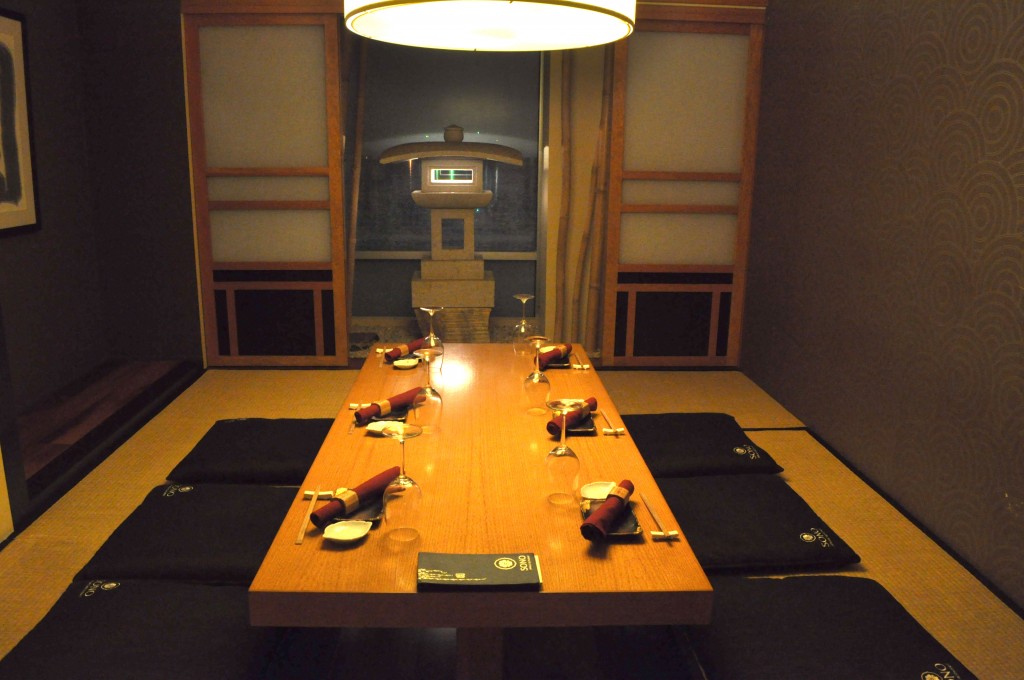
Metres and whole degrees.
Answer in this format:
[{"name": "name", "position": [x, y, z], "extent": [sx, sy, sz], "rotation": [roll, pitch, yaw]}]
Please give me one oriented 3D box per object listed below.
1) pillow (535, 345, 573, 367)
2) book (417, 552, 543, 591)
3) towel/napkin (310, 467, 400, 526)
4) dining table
[{"name": "pillow", "position": [0.200, 0.069, 3.636], "extent": [0.127, 0.121, 0.036], "rotation": [-3, -72, -2]}, {"name": "book", "position": [-0.099, 0.683, 2.210], "extent": [0.281, 0.136, 0.036], "rotation": [1, -71, -3]}, {"name": "towel/napkin", "position": [-0.466, 0.483, 2.501], "extent": [0.105, 0.437, 0.088], "rotation": [13, -68, 32]}, {"name": "dining table", "position": [-0.114, 0.566, 2.468], "extent": [1.058, 1.826, 0.412], "rotation": [0, -78, -2]}]
